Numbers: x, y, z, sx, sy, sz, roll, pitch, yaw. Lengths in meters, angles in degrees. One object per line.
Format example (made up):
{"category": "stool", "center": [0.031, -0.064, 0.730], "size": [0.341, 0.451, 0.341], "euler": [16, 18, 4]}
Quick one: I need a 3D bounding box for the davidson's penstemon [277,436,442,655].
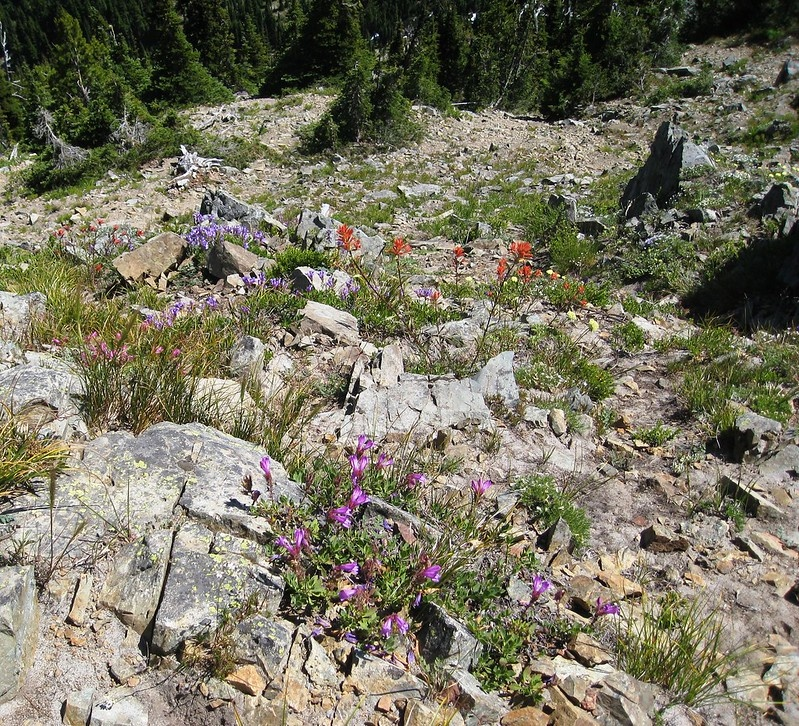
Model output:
{"category": "davidson's penstemon", "center": [-0.299, 1.229, 4.965], "size": [1.157, 0.802, 0.995], "euler": [9, 37, 9]}

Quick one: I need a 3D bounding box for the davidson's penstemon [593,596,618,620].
{"category": "davidson's penstemon", "center": [1.488, 1.786, 5.265], "size": [0.104, 0.151, 0.084], "euler": [2, 43, -27]}
